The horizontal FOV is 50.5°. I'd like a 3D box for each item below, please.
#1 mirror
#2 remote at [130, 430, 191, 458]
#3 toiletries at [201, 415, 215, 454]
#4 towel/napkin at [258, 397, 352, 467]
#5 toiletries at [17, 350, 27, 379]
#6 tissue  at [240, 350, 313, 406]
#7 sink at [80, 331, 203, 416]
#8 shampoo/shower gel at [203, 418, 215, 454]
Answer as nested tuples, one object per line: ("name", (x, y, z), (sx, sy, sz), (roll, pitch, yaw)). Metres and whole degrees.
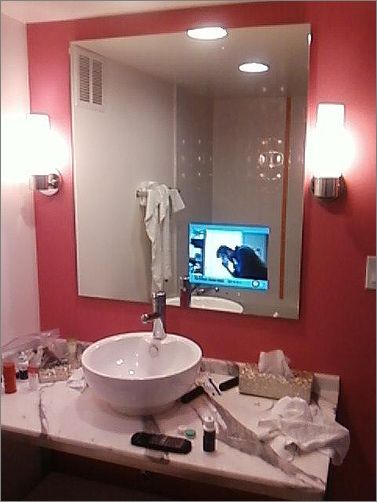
("mirror", (0.029, -0.324, 1.467), (0.976, 1.257, 0.049), (2, 8, 13))
("remote", (-0.073, 0.507, 1.060), (0.114, 0.023, 0.059), (2, 1, 9))
("toiletries", (0.051, 0.475, 1.037), (0.029, 0.089, 0.031), (-4, 11, -13))
("towel/napkin", (0.314, 0.487, 1.107), (0.203, 0.089, 0.210), (-9, 23, -31))
("toiletries", (-0.624, 0.430, 1.499), (0.040, 0.087, 0.082), (-7, 11, -26))
("tissue ", (0.302, 0.418, 1.365), (0.239, 0.173, 0.096), (3, 20, 23))
("sink", (-0.151, 0.384, 1.307), (0.384, 0.155, 0.419), (-2, 10, 3))
("shampoo/shower gel", (0.053, 0.476, 1.039), (0.034, 0.103, 0.035), (-2, 9, 0))
